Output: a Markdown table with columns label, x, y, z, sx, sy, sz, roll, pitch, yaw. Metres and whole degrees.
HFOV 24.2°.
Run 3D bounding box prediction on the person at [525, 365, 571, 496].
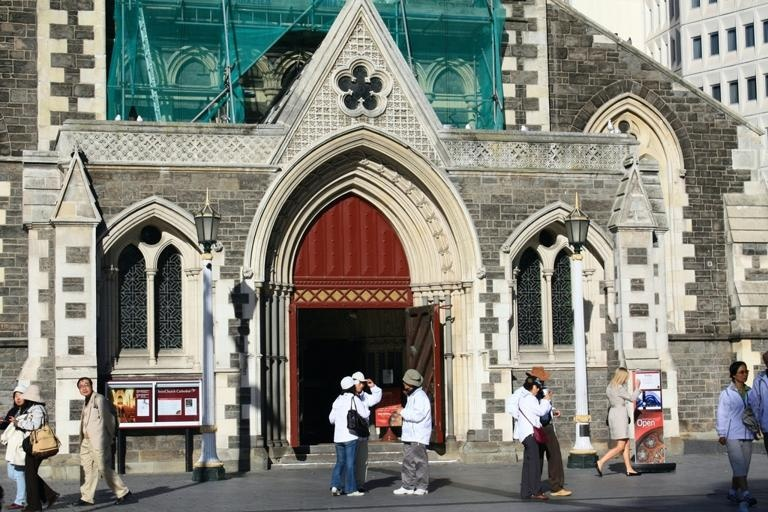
| label | x | y | z | sx | sy | sz | roll | pitch | yaw |
| --- | --- | --- | --- | --- | --- | --- | --- | --- | --- |
| person | 3.906 | 4.219 | 42.366 | 1.194 | 2.658 | 1.066 | 2 | 0 | 2 |

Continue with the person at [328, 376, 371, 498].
| label | x | y | z | sx | sy | sz | roll | pitch | yaw |
| --- | --- | --- | --- | --- | --- | --- | --- | --- | --- |
| person | -0.862 | 4.261 | 42.774 | 1.154 | 2.524 | 1.066 | 1 | 0 | -27 |

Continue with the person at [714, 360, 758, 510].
| label | x | y | z | sx | sy | sz | roll | pitch | yaw |
| --- | --- | --- | --- | --- | --- | --- | --- | --- | --- |
| person | 7.990 | 4.087 | 40.794 | 1.204 | 2.960 | 1.204 | 2 | 0 | 0 |

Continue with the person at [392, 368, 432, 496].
| label | x | y | z | sx | sy | sz | roll | pitch | yaw |
| --- | --- | --- | --- | --- | --- | --- | --- | --- | --- |
| person | 0.658 | 4.187 | 42.654 | 0.835 | 3.023 | 0.614 | -2 | -12 | -1 |

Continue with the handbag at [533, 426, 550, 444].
| label | x | y | z | sx | sy | sz | roll | pitch | yaw |
| --- | --- | --- | --- | --- | --- | --- | --- | --- | --- |
| handbag | 3.599 | 4.185 | 41.772 | 0.439 | 0.371 | 0.168 | 9 | -24 | -45 |

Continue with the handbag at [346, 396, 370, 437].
| label | x | y | z | sx | sy | sz | roll | pitch | yaw |
| --- | --- | --- | --- | --- | --- | --- | --- | --- | --- |
| handbag | -0.683 | 3.823 | 42.380 | 0.305 | 0.783 | 0.664 | -21 | -39 | 20 |
